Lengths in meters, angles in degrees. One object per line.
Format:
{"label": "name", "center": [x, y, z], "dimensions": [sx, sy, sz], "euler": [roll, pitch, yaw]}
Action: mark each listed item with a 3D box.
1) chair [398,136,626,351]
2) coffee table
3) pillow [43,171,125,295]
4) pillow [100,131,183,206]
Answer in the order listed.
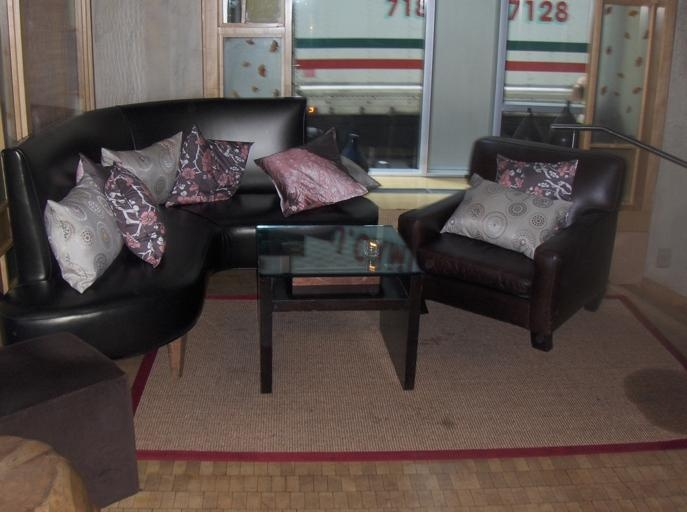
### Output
{"label": "chair", "center": [1.058, -0.116, 3.269], "dimensions": [1.216, 1.235, 1.224], "euler": [16, 28, 36]}
{"label": "coffee table", "center": [-0.037, 0.115, 2.718], "dimensions": [0.761, 0.616, 0.807], "euler": [-1, 27, -6]}
{"label": "pillow", "center": [-1.161, -0.089, 2.366], "dimensions": [0.178, 0.299, 0.477], "euler": [2, 29, -5]}
{"label": "pillow", "center": [-1.168, -0.500, 3.088], "dimensions": [0.473, 0.444, 0.187], "euler": [-24, 11, -42]}
